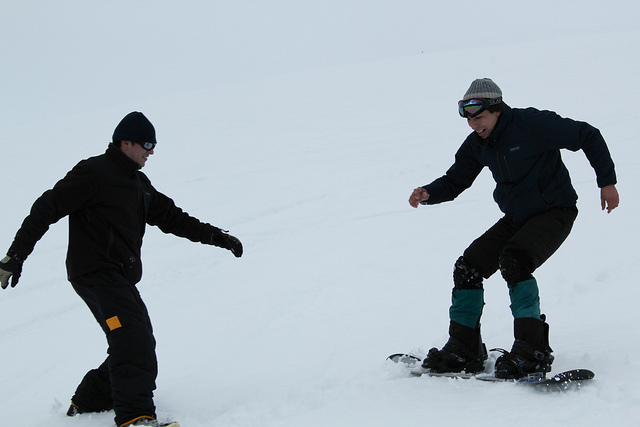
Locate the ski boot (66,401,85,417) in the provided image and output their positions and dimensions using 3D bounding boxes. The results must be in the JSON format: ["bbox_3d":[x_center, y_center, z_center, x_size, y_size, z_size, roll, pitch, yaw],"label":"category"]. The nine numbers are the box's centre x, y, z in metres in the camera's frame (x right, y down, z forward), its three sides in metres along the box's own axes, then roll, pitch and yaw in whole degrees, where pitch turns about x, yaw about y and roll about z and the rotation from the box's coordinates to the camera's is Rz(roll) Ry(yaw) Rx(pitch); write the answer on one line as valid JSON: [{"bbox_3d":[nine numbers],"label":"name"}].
[{"bbox_3d":[-2.674,2.086,6.959,0.196,0.139,0.067,-12,-5,26],"label":"ski boot"}]

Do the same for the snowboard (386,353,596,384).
[{"bbox_3d":[1.954,1.705,7.120,1.767,0.148,0.306,0,-16,15],"label":"snowboard"}]
